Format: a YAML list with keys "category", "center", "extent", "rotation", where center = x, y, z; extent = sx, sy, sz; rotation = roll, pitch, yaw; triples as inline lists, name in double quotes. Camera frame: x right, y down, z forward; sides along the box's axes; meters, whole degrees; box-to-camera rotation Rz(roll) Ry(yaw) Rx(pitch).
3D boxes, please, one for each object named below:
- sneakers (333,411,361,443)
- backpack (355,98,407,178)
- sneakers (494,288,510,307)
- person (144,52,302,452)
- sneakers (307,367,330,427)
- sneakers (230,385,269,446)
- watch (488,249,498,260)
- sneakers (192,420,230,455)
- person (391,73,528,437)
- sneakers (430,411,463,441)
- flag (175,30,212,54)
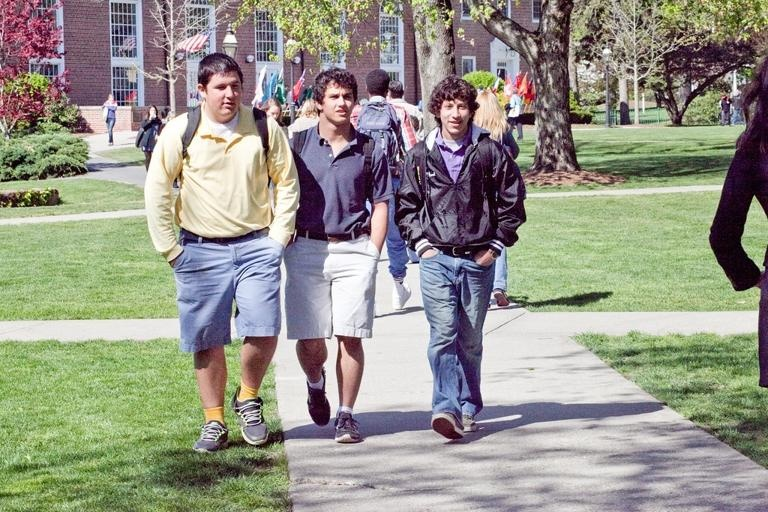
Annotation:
- category: "sneakers"
  center: [-0.270, 1.250, 6.388]
  extent: [0.192, 0.242, 0.201]
  rotation: [-2, 10, -4]
- category: "backpack"
  center: [-0.024, -1.432, 9.810]
  extent: [0.403, 0.600, 0.585]
  rotation: [-5, 21, 22]
- category: "sneakers"
  center: [1.350, 0.511, 10.183]
  extent: [0.120, 0.130, 0.309]
  rotation: [-6, -18, 19]
- category: "person"
  center: [-1.124, -0.013, 6.180]
  extent: [1.045, 2.783, 0.520]
  rotation: [-4, 10, -16]
- category: "sneakers"
  center: [-0.503, 1.076, 6.612]
  extent: [0.151, 0.443, 0.188]
  rotation: [-8, 12, -6]
- category: "sneakers"
  center: [-0.979, 1.146, 6.368]
  extent: [0.177, 0.199, 0.502]
  rotation: [-8, 31, -21]
- category: "watch"
  center: [0.785, -0.013, 6.374]
  extent: [0.060, 0.056, 0.060]
  rotation: [-19, 12, 6]
- category: "sneakers"
  center: [-1.243, 1.305, 6.270]
  extent: [0.183, 0.195, 0.443]
  rotation: [5, 5, 5]
- category: "person"
  center: [0.552, 0.009, 6.493]
  extent: [0.787, 2.640, 0.557]
  rotation: [-5, 10, -26]
- category: "sneakers"
  center: [0.448, 1.235, 6.294]
  extent: [0.126, 0.298, 0.137]
  rotation: [-16, 45, 22]
- category: "flag"
  center: [-10.206, -11.458, 46.455]
  extent: [1.752, 1.343, 8.728]
  rotation: [-3, 10, -11]
